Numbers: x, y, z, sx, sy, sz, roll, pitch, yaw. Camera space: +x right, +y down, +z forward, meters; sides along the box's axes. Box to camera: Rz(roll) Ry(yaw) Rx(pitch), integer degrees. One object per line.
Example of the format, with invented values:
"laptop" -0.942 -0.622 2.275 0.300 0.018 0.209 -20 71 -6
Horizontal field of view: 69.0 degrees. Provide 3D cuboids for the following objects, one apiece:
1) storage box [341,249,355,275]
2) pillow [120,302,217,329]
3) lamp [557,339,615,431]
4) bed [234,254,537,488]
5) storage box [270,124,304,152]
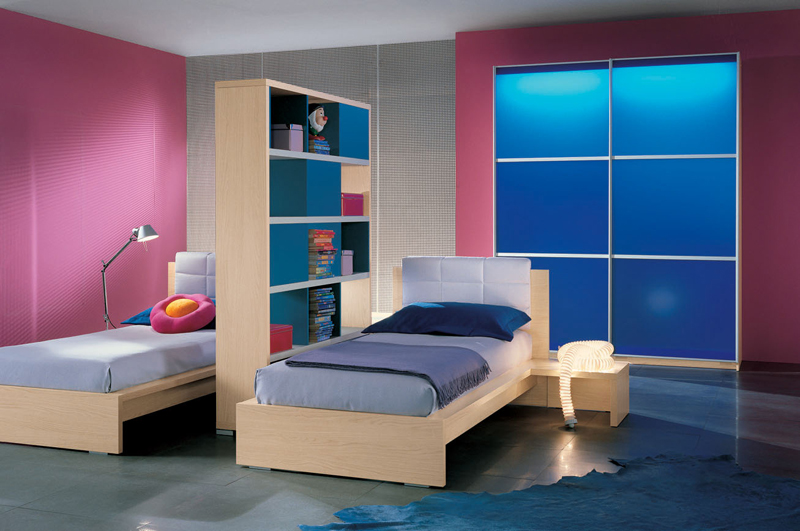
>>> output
"storage box" -0.468 -0.029 5.126 0.151 0.216 0.253 -1 -1 12
"pillow" -2.210 0.479 5.286 0.582 0.137 0.547 -2 1 -15
"lamp" 1.387 0.878 4.477 0.500 0.593 0.284 -1 -14 -13
"bed" 0.165 0.637 4.288 1.255 0.910 2.136 1 3 23
"storage box" -0.838 -0.947 4.437 0.257 0.201 0.241 0 3 25
